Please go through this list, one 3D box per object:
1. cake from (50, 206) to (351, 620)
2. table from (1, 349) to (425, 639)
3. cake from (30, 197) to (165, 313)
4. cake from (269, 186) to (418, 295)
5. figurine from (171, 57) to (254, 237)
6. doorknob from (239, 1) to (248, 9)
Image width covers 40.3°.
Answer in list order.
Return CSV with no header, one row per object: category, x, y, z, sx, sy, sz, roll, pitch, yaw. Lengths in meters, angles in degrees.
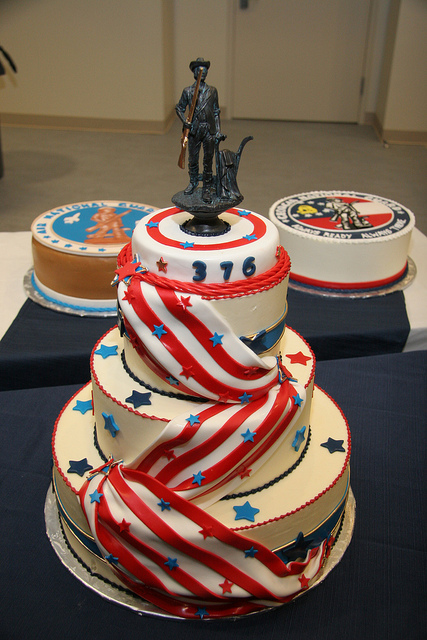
cake,0.053,0.315,2.311,1.375,1.346,1.170,-7,35,-7
table,0.112,0.925,2.849,1.846,0.910,1.734,-8,29,-9
cake,-0.910,-0.516,3.758,0.898,0.404,0.873,-23,42,-32
cake,0.943,-0.470,4.262,1.010,0.342,0.962,-7,16,-7
figurine,-0.016,-0.578,2.000,0.307,0.557,0.272,20,33,34
doorknob,0.301,-3.139,5.812,0.077,0.066,0.071,-3,42,-2
